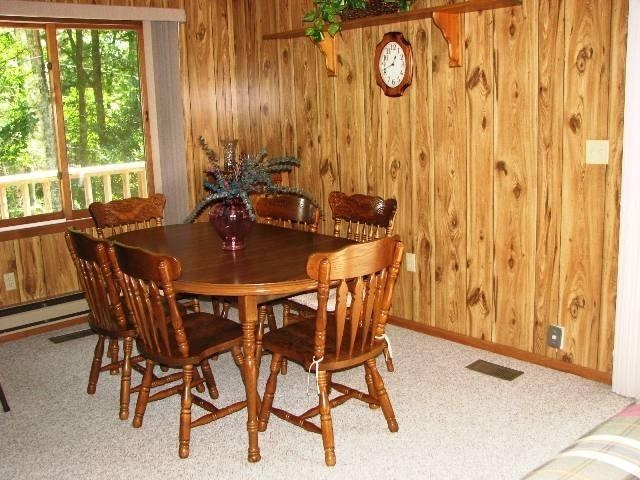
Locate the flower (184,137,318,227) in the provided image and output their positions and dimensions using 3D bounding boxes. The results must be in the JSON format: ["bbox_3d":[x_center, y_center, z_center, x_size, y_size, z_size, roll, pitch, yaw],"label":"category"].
[{"bbox_3d":[-0.415,-0.347,3.011,0.731,0.288,0.844,-7,-12,-21],"label":"flower"}]

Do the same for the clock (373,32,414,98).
[{"bbox_3d":[0.552,-1.296,3.740,0.083,0.454,0.334,-16,20,-40],"label":"clock"}]
